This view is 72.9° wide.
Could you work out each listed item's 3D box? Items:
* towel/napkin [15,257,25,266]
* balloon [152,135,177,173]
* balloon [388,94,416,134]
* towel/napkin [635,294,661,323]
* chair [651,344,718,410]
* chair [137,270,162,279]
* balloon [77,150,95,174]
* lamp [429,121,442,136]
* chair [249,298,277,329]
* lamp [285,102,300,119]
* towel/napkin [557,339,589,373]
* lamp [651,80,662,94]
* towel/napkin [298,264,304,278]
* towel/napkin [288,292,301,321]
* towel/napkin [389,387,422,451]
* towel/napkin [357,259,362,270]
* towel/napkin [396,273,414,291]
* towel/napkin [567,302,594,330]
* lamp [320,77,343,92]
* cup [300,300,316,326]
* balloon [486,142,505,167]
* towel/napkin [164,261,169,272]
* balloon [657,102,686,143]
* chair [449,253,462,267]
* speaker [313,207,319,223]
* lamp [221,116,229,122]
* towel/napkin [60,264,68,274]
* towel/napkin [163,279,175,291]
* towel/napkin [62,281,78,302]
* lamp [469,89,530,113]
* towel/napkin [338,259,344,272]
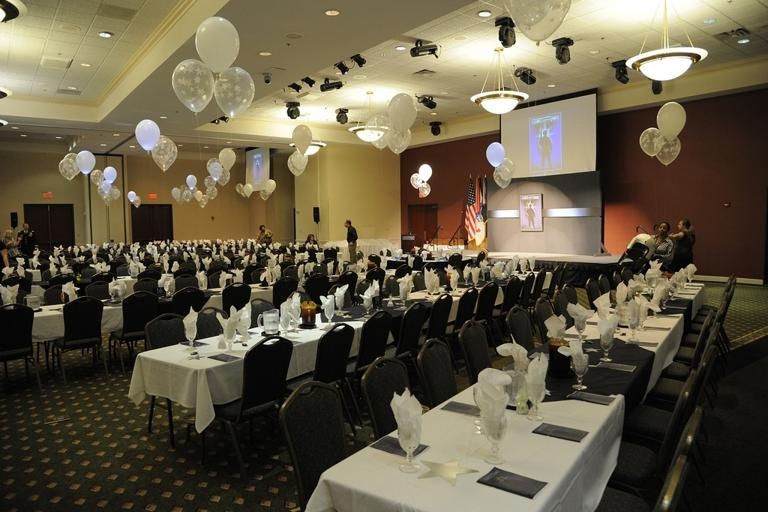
[{"bbox_3d":[-9.146,0.144,13.089,0.179,0.189,0.155,-15,-15,18],"label":"towel/napkin"},{"bbox_3d":[-5.554,-2.569,13.166,0.646,0.869,0.657,-12,-3,44],"label":"balloon"},{"bbox_3d":[0.381,-2.973,10.788,0.615,0.839,0.658,0,-2,26],"label":"balloon"},{"bbox_3d":[3.531,0.713,6.978,0.296,0.343,0.285,-1,2,-2],"label":"towel/napkin"},{"bbox_3d":[3.424,1.395,6.001,0.470,0.827,0.441,18,55,40],"label":"chair"},{"bbox_3d":[-4.668,0.378,10.414,0.211,0.126,0.297,0,1,33],"label":"chair"},{"bbox_3d":[-8.129,-2.570,14.163,0.395,0.580,0.630,-3,4,-32],"label":"balloon"},{"bbox_3d":[1.976,-4.896,19.939,0.427,0.560,0.945,0,4,7],"label":"lamp"},{"bbox_3d":[-1.780,0.819,7.464,0.322,0.336,0.399,-2,-3,45],"label":"chair"},{"bbox_3d":[-2.871,-4.601,16.385,0.335,0.716,0.526,2,4,32],"label":"lamp"},{"bbox_3d":[1.895,0.955,5.244,0.294,0.324,0.314,-14,9,11],"label":"towel/napkin"},{"bbox_3d":[7.198,-4.471,13.771,0.197,0.352,0.561,1,4,20],"label":"lamp"},{"bbox_3d":[-1.732,0.310,10.775,0.130,0.247,0.052,1,5,-44],"label":"towel/napkin"},{"bbox_3d":[-1.205,0.661,6.813,0.114,0.359,0.205,1,13,19],"label":"towel/napkin"},{"bbox_3d":[0.184,1.406,4.351,0.246,0.554,0.253,0,4,-1],"label":"towel/napkin"},{"bbox_3d":[-0.566,0.198,11.967,0.118,0.216,0.266,-1,4,-9],"label":"towel/napkin"},{"bbox_3d":[0.344,0.421,8.404,0.222,0.301,0.281,-2,-8,3],"label":"towel/napkin"},{"bbox_3d":[2.267,0.681,6.119,0.356,0.353,0.308,1,0,-44],"label":"towel/napkin"},{"bbox_3d":[-1.339,-4.551,13.917,0.319,0.324,1.114,11,25,17],"label":"lamp"},{"bbox_3d":[-1.008,0.785,6.952,0.200,0.293,0.275,1,3,0],"label":"cup"},{"bbox_3d":[3.265,-3.001,15.286,0.417,0.709,0.910,1,4,17],"label":"balloon"},{"bbox_3d":[-4.896,0.284,11.719,0.133,0.208,0.044,2,21,-11],"label":"towel/napkin"},{"bbox_3d":[6.119,-2.895,11.098,0.447,0.786,0.757,2,4,36],"label":"balloon"},{"bbox_3d":[1.828,0.111,13.429,0.331,0.354,0.425,-2,7,-1],"label":"chair"},{"bbox_3d":[-2.840,-1.733,21.989,0.215,0.663,0.277,1,4,25],"label":"speaker"},{"bbox_3d":[-5.165,-4.453,16.919,0.249,0.090,0.344,0,2,-19],"label":"lamp"},{"bbox_3d":[-7.340,0.306,11.946,0.142,0.209,0.204,1,-11,-13],"label":"towel/napkin"},{"bbox_3d":[-3.679,0.499,8.921,0.195,0.207,0.146,-14,-8,42],"label":"towel/napkin"},{"bbox_3d":[-5.279,0.602,8.739,0.328,0.360,0.331,-1,0,-34],"label":"towel/napkin"},{"bbox_3d":[2.317,-3.205,10.497,0.921,0.509,0.777,-3,5,-39],"label":"lamp"},{"bbox_3d":[-1.017,0.245,12.140,0.143,0.279,0.509,-1,4,-5],"label":"towel/napkin"}]
